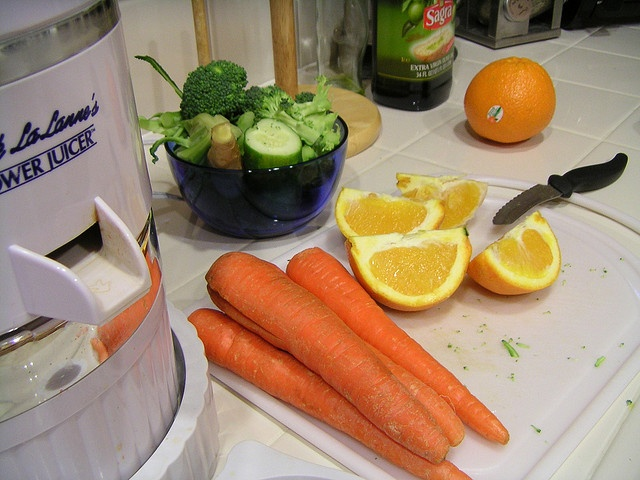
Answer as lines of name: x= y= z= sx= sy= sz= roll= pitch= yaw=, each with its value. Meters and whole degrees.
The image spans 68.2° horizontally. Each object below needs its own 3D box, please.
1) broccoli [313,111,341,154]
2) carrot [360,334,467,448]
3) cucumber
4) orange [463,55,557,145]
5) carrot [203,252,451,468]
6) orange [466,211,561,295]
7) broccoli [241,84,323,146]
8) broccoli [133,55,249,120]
broccoli: x=0.010 y=-0.164 z=0.782 sx=0.048 sy=0.021 sz=0.079 roll=10 pitch=83 yaw=-26
carrot: x=0.117 y=0.179 z=0.572 sx=0.036 sy=0.043 sz=0.146 roll=-29 pitch=58 yaw=-22
cucumber: x=-0.079 y=-0.143 z=0.738 sx=0.093 sy=0.047 sz=0.083 roll=-12 pitch=52 yaw=-9
orange: x=0.382 y=-0.284 z=0.993 sx=0.167 sy=0.180 sz=0.165 roll=-23 pitch=26 yaw=-39
carrot: x=0.001 y=0.136 z=0.607 sx=0.367 sy=0.098 sz=0.098 roll=36 pitch=50 yaw=18
orange: x=0.293 y=0.047 z=0.727 sx=0.116 sy=0.054 sz=0.131 roll=-21 pitch=33 yaw=23
broccoli: x=-0.058 y=-0.221 z=0.784 sx=0.104 sy=0.062 sz=0.115 roll=14 pitch=46 yaw=18
broccoli: x=-0.206 y=-0.270 z=0.777 sx=0.145 sy=0.068 sz=0.115 roll=30 pitch=51 yaw=15
